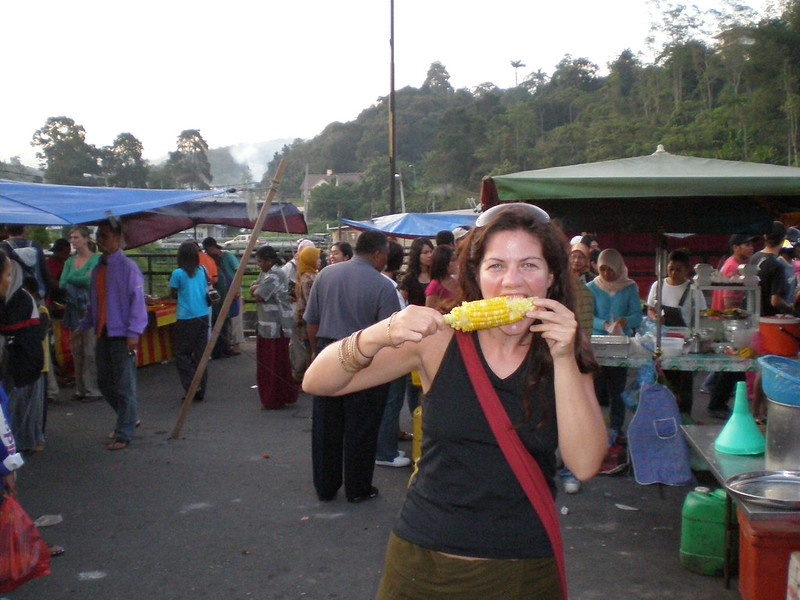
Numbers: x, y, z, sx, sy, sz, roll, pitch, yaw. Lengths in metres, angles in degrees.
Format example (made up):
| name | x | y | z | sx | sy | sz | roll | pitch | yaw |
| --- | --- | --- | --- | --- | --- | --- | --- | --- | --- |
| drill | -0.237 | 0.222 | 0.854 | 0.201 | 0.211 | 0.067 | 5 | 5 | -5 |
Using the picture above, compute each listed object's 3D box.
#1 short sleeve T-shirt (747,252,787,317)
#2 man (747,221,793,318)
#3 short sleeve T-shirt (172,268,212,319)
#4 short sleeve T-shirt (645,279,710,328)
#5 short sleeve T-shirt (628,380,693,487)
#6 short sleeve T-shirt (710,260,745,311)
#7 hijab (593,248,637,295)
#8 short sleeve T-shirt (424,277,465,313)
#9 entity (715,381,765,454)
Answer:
| name | x | y | z | sx | sy | sz | roll | pitch | yaw |
| --- | --- | --- | --- | --- | --- | --- | --- | --- | --- |
| short sleeve T-shirt | 4.593 | -0.167 | 8.835 | 0.265 | 0.758 | 0.653 | -10 | 15 | -9 |
| man | 4.998 | -0.620 | 9.349 | 0.625 | 1.565 | 0.418 | -15 | 19 | -22 |
| short sleeve T-shirt | -2.979 | -0.101 | 10.219 | 0.722 | 0.843 | 0.443 | 1 | -10 | -37 |
| short sleeve T-shirt | 3.250 | 0.053 | 8.262 | 0.285 | 0.525 | 0.526 | 10 | -8 | -37 |
| short sleeve T-shirt | 2.495 | 1.367 | 6.901 | 0.618 | 1.066 | 0.243 | -3 | 6 | 12 |
| short sleeve T-shirt | 3.914 | -0.159 | 8.433 | 0.353 | 0.684 | 0.659 | 2 | 0 | 34 |
| hijab | 2.482 | -0.342 | 8.100 | 0.623 | 0.600 | 0.429 | 0 | 10 | 38 |
| short sleeve T-shirt | 0.449 | 0.028 | 7.296 | 0.464 | 0.459 | 0.259 | 1 | -29 | 1 |
| entity | 2.380 | 0.821 | 4.934 | 0.317 | 0.453 | 0.312 | 5 | 12 | 27 |
